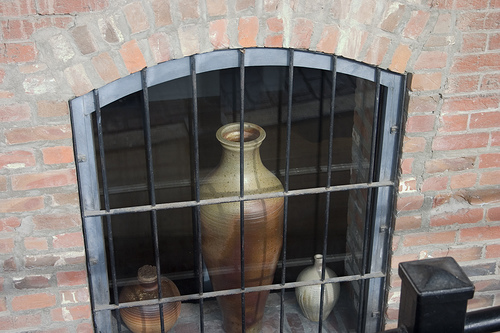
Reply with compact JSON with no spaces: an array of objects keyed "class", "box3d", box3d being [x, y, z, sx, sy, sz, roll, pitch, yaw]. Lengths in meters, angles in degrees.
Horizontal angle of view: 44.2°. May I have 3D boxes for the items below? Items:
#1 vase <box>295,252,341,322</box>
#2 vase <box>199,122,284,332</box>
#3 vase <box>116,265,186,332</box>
[{"class":"vase","box3d":[0.497,0.908,4.526,0.322,0.398,0.291,5,11,-4]},{"class":"vase","box3d":[-0.045,0.453,4.195,0.573,1.333,0.861,-4,-13,-5]},{"class":"vase","box3d":[-0.676,0.907,4.224,0.445,0.445,0.327,-7,-13,7]}]
